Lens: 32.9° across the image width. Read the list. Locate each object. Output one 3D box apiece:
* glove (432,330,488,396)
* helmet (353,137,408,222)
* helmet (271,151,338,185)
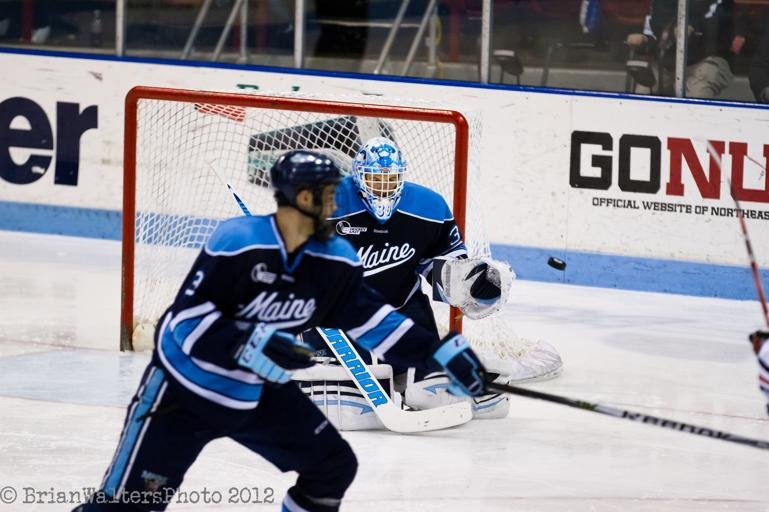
[{"bbox_3d":[0.393,0.588,7.084,0.354,0.278,0.151,47,-7,-2],"label":"glove"},{"bbox_3d":[-0.041,-0.483,8.188,0.403,0.468,0.481,-2,31,-7],"label":"helmet"},{"bbox_3d":[-0.423,-0.457,6.893,0.278,0.184,0.194,-3,11,-8],"label":"helmet"}]
